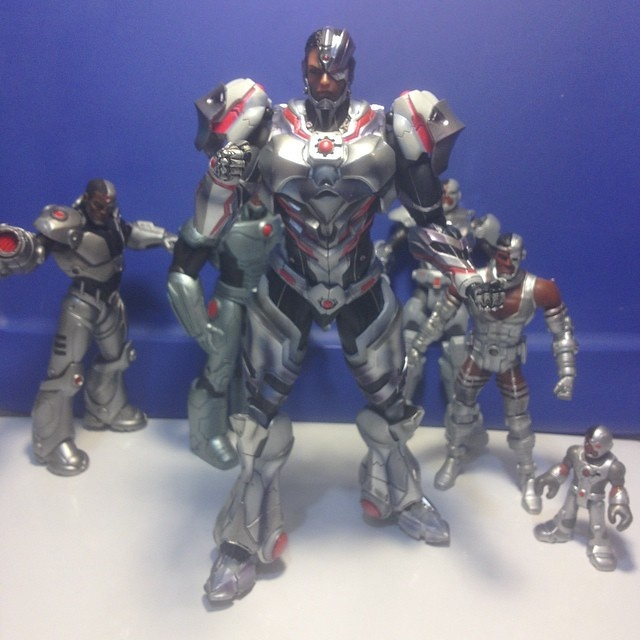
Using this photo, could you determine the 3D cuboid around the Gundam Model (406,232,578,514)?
[{"bbox_3d":[0.726,0.248,3.124,0.639,1.310,0.412,10,36,21],"label":"Gundam Model"}]
